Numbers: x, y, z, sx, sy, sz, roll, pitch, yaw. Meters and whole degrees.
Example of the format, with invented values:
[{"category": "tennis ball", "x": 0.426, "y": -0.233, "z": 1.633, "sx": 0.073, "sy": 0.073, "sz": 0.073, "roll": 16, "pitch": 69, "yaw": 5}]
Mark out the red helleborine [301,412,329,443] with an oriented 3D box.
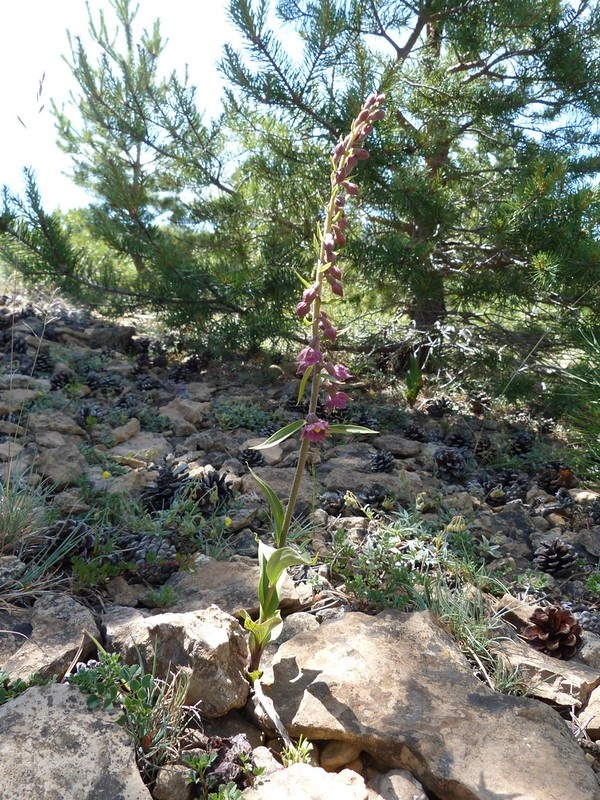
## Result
[{"category": "red helleborine", "x": 0.044, "y": 0.089, "z": 2.024, "sx": 0.089, "sy": 0.051, "sz": 0.086, "roll": 5, "pitch": -11, "yaw": -31}]
